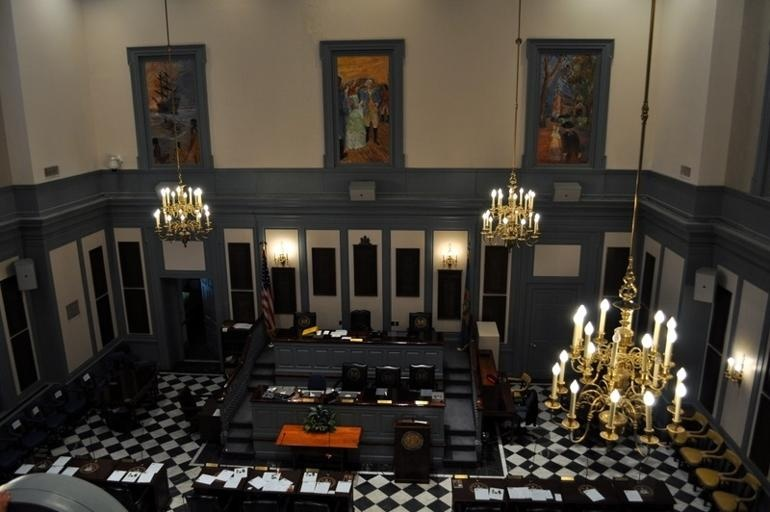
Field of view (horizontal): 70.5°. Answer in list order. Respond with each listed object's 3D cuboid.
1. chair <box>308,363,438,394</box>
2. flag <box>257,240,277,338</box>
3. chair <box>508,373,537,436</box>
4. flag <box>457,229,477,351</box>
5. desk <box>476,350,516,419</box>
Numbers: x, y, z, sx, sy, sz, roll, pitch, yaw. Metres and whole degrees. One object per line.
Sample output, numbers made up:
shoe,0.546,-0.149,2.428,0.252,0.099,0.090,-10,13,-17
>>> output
chair,-0.201,3.222,14.470,3.164,0.912,1.178,2,13,5
flag,-3.424,0.956,15.871,0.441,2.671,0.892,-2,14,-13
chair,3.733,3.923,14.731,0.838,1.191,1.951,4,13,13
flag,2.409,1.061,15.735,0.402,3.420,0.491,3,13,9
desk,3.070,3.733,14.885,0.679,1.406,2.118,-10,13,11
